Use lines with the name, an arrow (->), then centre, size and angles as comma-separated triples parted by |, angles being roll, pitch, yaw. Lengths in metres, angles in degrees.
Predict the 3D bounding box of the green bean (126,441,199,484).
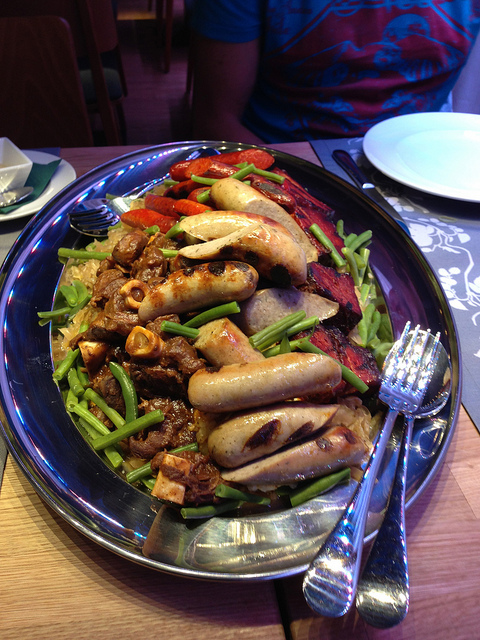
green bean -> -0.173, 0.314, 1.132 | 0.155, 0.028, 0.028 | -22, 60, -15

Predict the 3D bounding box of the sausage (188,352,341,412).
sausage -> 0.051, 0.137, 1.165 | 0.334, 0.095, 0.139 | -10, 2, -3

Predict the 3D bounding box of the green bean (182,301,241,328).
green bean -> -0.065, -0.016, 1.269 | 0.124, 0.030, 0.024 | -18, 32, 28

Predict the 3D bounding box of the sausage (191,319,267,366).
sausage -> -0.023, 0.047, 1.196 | 0.095, 0.054, 0.172 | -16, 36, -27

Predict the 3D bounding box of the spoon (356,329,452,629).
spoon -> 0.395, 0.302, 1.240 | 0.172, 0.069, 0.961 | 5, 26, 21

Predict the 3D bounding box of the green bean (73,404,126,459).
green bean -> -0.328, 0.261, 1.196 | 0.031, 0.026, 0.154 | -43, 72, -10

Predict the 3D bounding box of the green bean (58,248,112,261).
green bean -> -0.486, -0.203, 1.593 | 0.195, 0.038, 0.031 | 4, 54, -17

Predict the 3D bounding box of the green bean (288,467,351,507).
green bean -> 0.156, 0.358, 1.154 | 0.179, 0.048, 0.048 | -19, 63, -14

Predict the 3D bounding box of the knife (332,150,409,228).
knife -> 0.513, -0.558, 2.165 | 0.112, 0.036, 0.679 | -21, 46, -4

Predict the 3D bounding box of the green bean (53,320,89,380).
green bean -> -0.421, 0.069, 1.341 | 0.033, 0.039, 0.173 | -27, 21, 28

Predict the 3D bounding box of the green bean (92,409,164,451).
green bean -> -0.256, 0.257, 1.197 | 0.147, 0.030, 0.036 | -25, 48, -18

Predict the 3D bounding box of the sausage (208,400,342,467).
sausage -> 0.070, 0.249, 1.165 | 0.306, 0.090, 0.111 | -11, 29, -3

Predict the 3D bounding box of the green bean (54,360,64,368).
green bean -> -0.471, 0.112, 1.324 | 0.011, 0.007, 0.037 | 22, 4, -17

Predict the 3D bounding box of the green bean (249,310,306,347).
green bean -> 0.093, 0.023, 1.293 | 0.157, 0.030, 0.027 | -23, 48, -14

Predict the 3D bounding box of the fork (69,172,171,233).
fork -> -0.395, -0.413, 1.808 | 0.090, 0.060, 0.437 | 43, 46, 8

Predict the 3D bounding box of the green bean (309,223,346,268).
green bean -> 0.271, -0.230, 1.575 | 0.052, 0.043, 0.225 | -21, 53, -8

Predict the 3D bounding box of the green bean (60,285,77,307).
green bean -> -0.500, -0.069, 1.507 | 0.032, 0.022, 0.085 | -29, 45, -8

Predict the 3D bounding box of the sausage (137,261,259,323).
sausage -> -0.102, -0.077, 1.291 | 0.266, 0.125, 0.089 | -14, 74, 8

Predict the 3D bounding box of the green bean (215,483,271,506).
green bean -> 0.004, 0.371, 1.093 | 0.163, 0.030, 0.036 | 19, 24, -33

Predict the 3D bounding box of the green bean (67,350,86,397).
green bean -> -0.416, 0.137, 1.304 | 0.032, 0.032, 0.125 | 12, 27, -34

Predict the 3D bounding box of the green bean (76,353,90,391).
green bean -> -0.400, 0.134, 1.312 | 0.024, 0.024, 0.104 | -1, 34, -28

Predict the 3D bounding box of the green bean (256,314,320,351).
green bean -> 0.115, 0.032, 1.291 | 0.175, 0.028, 0.034 | -22, 12, -19

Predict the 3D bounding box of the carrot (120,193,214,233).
carrot -> -0.239, -0.345, 1.691 | 0.278, 0.054, 0.154 | 14, 45, 34
